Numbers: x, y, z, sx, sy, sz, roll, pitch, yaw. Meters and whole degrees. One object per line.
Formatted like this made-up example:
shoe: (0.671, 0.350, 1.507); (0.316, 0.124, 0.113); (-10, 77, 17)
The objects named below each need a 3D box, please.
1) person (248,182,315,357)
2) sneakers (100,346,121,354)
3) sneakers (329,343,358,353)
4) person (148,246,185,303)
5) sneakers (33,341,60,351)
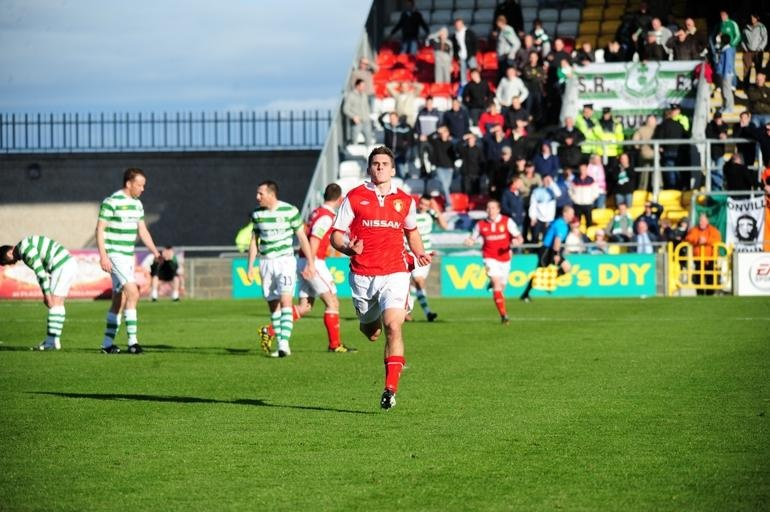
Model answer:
person: (-2.174, 0.266, 31.982); (1.320, 3.590, 0.741); (-1, 9, -5)
sneakers: (-5.716, 1.967, 32.277); (0.423, 0.198, 0.162); (-2, 26, -2)
sneakers: (-0.883, 1.962, 32.385); (0.600, 0.246, 0.215); (-1, 1, -3)
person: (-6.196, 0.583, 43.716); (0.957, 1.970, 1.211); (3, -28, -11)
sneakers: (-7.159, 1.934, 32.786); (0.578, 0.271, 0.207); (7, 0, -3)
